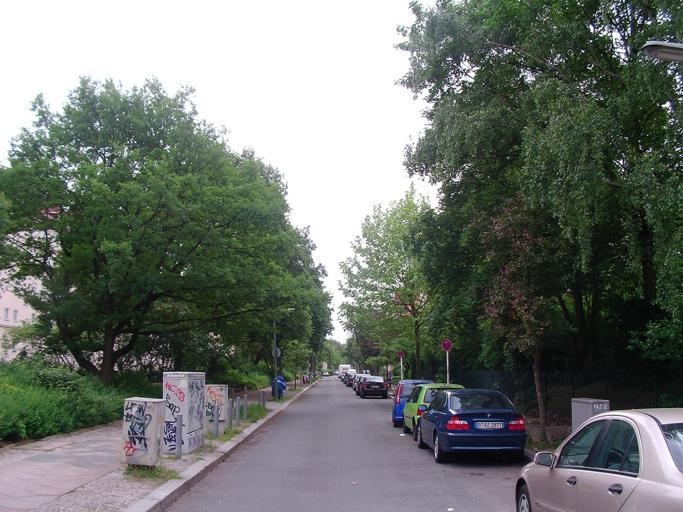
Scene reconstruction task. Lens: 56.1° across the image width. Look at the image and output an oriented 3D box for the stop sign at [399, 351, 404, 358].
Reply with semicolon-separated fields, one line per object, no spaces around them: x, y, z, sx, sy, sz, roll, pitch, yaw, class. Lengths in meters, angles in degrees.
4.405;7.210;46.549;0.405;0.346;0.435;1;-3;4;stop sign
